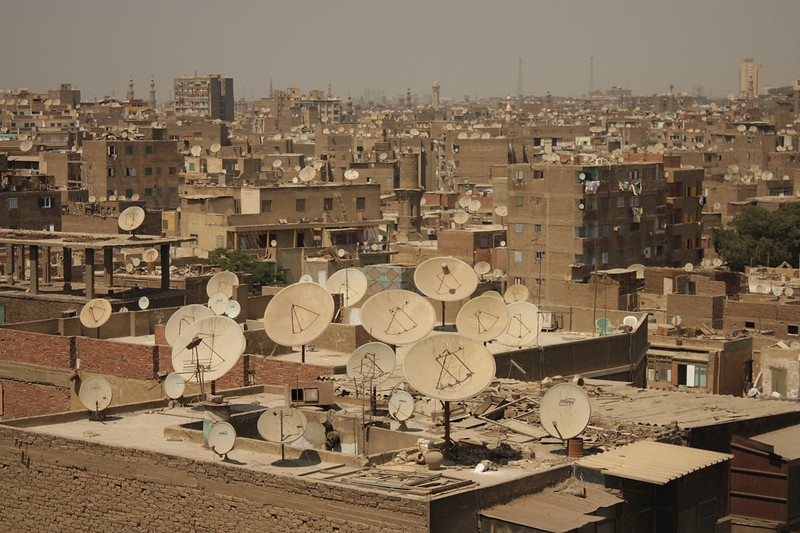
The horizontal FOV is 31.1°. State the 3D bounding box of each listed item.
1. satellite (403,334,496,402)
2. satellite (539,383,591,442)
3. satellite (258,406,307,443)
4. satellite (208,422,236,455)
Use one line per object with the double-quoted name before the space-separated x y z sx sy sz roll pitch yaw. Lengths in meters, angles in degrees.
"satellite" 1.233 2.689 35.388 2.149 0.796 2.200 -12 39 -6
"satellite" 4.198 3.690 36.564 1.509 1.577 1.295 -1 -5 12
"satellite" -2.909 3.954 35.609 1.141 0.866 0.648 0 6 -7
"satellite" -4.383 4.239 35.469 0.671 0.875 0.472 0 6 -7
